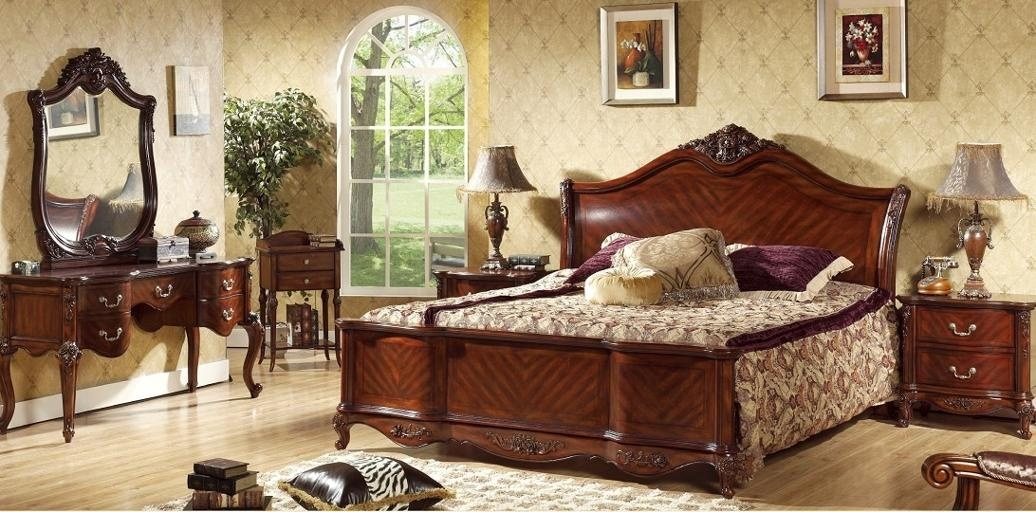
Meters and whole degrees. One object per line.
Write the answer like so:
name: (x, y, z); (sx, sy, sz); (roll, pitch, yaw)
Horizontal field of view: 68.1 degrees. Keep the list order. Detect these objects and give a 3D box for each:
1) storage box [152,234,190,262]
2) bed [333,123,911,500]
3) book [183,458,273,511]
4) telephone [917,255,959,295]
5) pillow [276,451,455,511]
storage box: (-3.183, -0.059, 7.017); (0.253, 0.218, 0.341); (1, 2, 30)
bed: (1.155, 0.238, 6.891); (4.353, 2.179, 4.215); (-8, 9, -31)
book: (-1.743, 1.391, 4.651); (0.473, 0.189, 0.318); (1, 3, 3)
telephone: (3.797, 0.174, 6.885); (0.487, 0.321, 0.470); (-2, 9, 34)
pillow: (-1.015, 1.565, 5.191); (0.583, 0.202, 0.580); (2, -1, -38)
